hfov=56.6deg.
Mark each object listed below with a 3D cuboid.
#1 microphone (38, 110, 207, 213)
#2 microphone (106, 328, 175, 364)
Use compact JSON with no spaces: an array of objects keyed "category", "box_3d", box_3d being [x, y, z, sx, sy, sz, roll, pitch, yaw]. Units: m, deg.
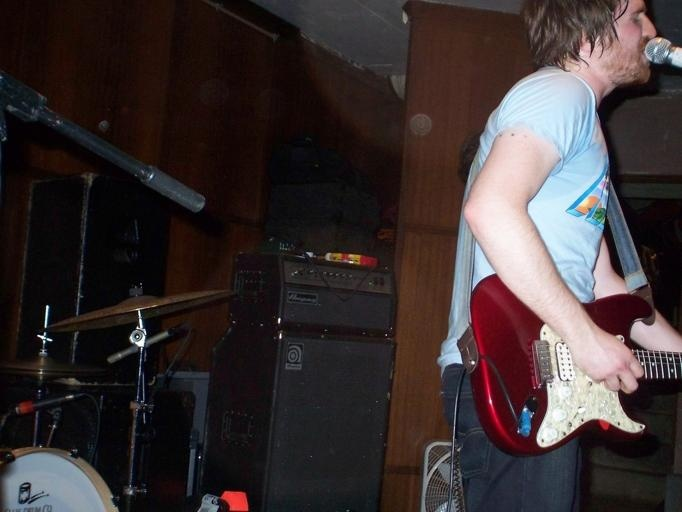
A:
[{"category":"microphone","box_3d":[-1.123,-0.479,3.164,1.056,0.165,0.162,36,16,-13]},{"category":"microphone","box_3d":[-0.949,0.427,2.981,0.256,0.147,0.457,6,-15,-21]}]
